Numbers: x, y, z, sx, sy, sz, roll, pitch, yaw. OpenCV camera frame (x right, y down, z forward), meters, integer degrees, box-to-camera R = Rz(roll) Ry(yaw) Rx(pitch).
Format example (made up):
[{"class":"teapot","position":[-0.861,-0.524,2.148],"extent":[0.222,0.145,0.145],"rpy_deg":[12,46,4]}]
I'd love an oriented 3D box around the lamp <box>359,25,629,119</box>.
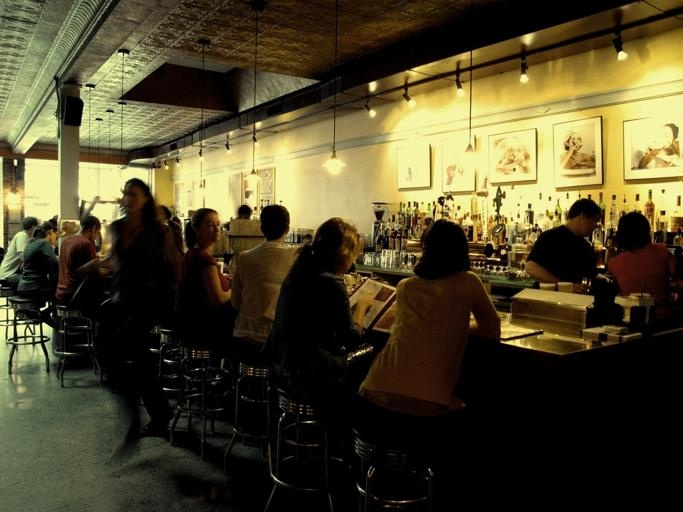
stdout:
[{"class":"lamp","position":[1.745,-2.106,6.375],"extent":[2.739,0.636,0.208],"rpy_deg":[-9,-11,20]}]

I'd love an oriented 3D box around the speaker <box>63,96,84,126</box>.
[{"class":"speaker","position":[-4.101,-2.216,8.545],"extent":[0.296,0.467,0.374],"rpy_deg":[-4,8,-26]}]

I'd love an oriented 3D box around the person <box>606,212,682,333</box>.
[{"class":"person","position":[2.373,0.077,4.369],"extent":[0.539,0.794,1.014],"rpy_deg":[3,8,25]}]

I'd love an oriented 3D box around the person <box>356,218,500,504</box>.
[{"class":"person","position":[0.585,0.768,3.425],"extent":[0.872,1.947,0.547],"rpy_deg":[-5,9,-36]}]

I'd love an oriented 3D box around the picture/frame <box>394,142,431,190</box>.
[{"class":"picture/frame","position":[1.062,-1.302,8.179],"extent":[0.152,0.709,0.677],"rpy_deg":[-4,8,-30]}]

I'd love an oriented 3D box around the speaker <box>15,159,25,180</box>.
[{"class":"speaker","position":[-8.799,-2.373,15.405],"extent":[0.074,0.544,0.245],"rpy_deg":[4,8,28]}]
